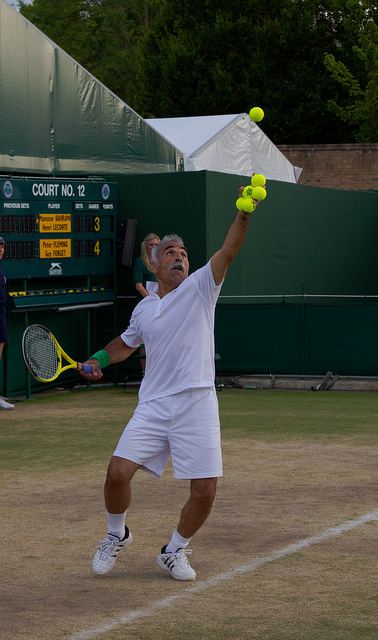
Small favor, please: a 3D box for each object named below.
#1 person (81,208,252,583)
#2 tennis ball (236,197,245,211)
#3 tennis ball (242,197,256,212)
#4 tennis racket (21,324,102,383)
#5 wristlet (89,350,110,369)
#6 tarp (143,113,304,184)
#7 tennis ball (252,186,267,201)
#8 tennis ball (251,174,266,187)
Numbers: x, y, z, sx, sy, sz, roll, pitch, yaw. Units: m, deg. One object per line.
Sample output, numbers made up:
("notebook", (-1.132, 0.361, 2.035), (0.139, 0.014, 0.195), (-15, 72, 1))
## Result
("person", (-0.079, 0.398, 4.224), (0.799, 1.877, 0.494), (1, 2, 12))
("tennis ball", (0.233, -0.561, 3.943), (0.027, 0.058, 0.051), (19, -4, 13))
("tennis ball", (0.276, -0.543, 3.896), (0.060, 0.073, 0.059), (-2, 9, 0))
("tennis racket", (-1.081, 0.243, 6.094), (0.277, 0.375, 0.830), (0, 2, -12))
("wristlet", (-0.524, 0.240, 4.866), (0.075, 0.086, 0.103), (-24, 14, -22))
("tarp", (0.999, -3.818, 18.138), (3.514, 1.094, 2.782), (-6, 13, -44))
("tennis ball", (0.336, -0.608, 3.958), (0.065, 0.067, 0.066), (-1, 2, 0))
("tennis ball", (0.334, -0.685, 4.059), (0.061, 0.073, 0.179), (0, 2, 3))
